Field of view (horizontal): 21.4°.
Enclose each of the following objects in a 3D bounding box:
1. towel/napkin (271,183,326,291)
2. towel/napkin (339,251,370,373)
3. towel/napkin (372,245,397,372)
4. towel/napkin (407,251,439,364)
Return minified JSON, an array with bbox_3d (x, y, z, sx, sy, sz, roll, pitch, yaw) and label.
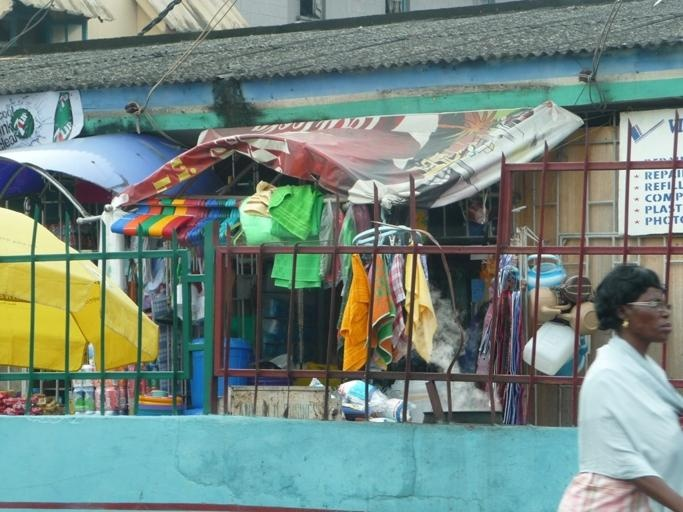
[{"bbox_3d":[-0.550,-0.259,21.116,0.636,1.261,0.608,2,-6,-2],"label":"towel/napkin"},{"bbox_3d":[0.130,0.614,19.676,0.314,1.265,0.348,2,-6,-2],"label":"towel/napkin"},{"bbox_3d":[0.453,0.610,19.709,0.249,1.230,0.481,1,-6,1],"label":"towel/napkin"},{"bbox_3d":[0.828,0.547,19.688,0.331,1.174,1.007,0,-6,11],"label":"towel/napkin"}]
